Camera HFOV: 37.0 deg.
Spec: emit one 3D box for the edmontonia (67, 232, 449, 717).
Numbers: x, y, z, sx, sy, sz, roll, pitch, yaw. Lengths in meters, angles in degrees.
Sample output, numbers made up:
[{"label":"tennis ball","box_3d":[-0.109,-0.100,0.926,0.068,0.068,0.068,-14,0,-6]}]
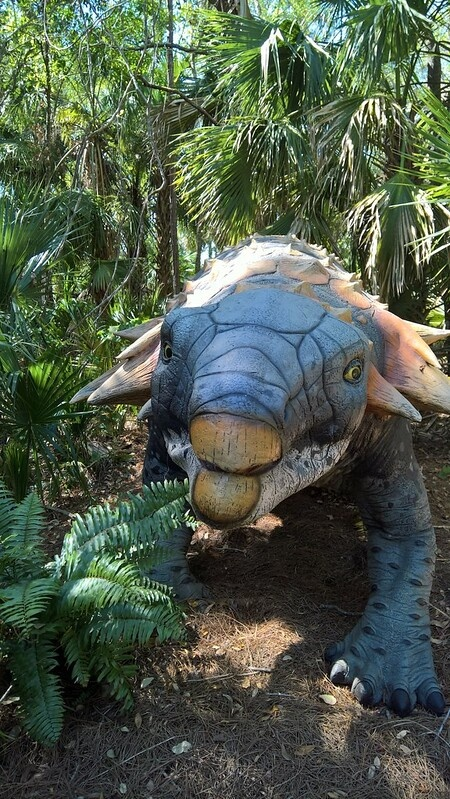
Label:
[{"label":"edmontonia","box_3d":[0.215,0.141,2.541,1.250,1.127,1.770,2,25,12]}]
